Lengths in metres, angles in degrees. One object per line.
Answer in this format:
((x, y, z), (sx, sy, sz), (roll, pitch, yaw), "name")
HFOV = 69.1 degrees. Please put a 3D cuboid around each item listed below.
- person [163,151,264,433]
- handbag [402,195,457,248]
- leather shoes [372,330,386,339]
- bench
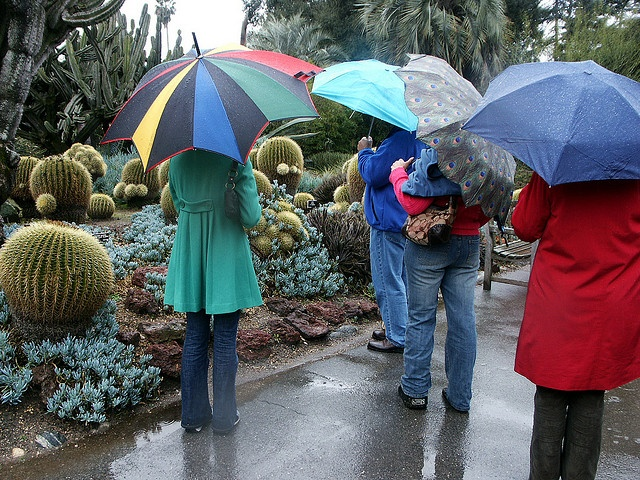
((-0.843, 0.401, 3.657), (0.758, 2.173, 0.544), (1, 13, -3), "person")
((0.892, -0.212, 3.844), (0.214, 0.603, 0.425), (23, -15, -37), "handbag")
((0.665, 1.082, 5.367), (0.166, 0.080, 0.065), (11, 4, 16), "leather shoes")
((2.295, 0.131, 5.684), (0.472, 0.985, 1.392), (3, 6, 32), "bench")
